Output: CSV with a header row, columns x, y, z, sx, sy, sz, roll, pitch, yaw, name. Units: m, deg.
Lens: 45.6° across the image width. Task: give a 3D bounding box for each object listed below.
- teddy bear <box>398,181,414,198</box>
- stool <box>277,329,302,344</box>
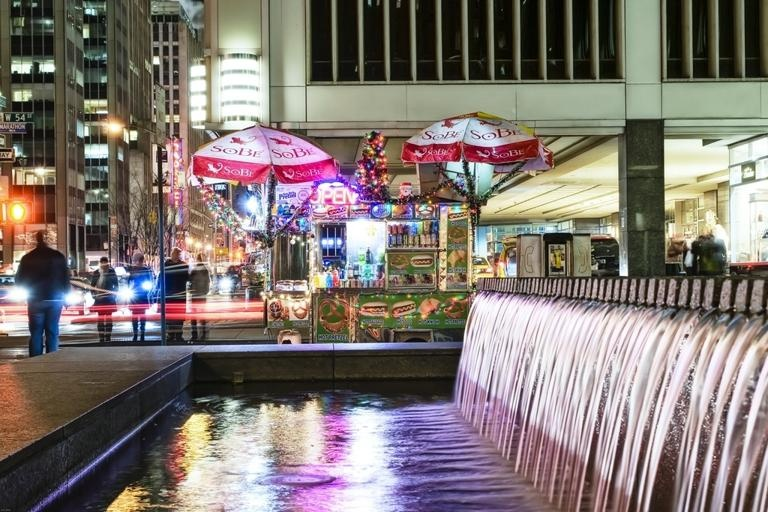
x,y,z,sx,sy,sz,roll,pitch,yaw,name
0.498,-1.559,21.731,0.393,0.393,0.403,2,-1,-3,teddy bear
-2.132,1.856,20.566,0.543,0.293,0.422,-2,15,-4,stool
